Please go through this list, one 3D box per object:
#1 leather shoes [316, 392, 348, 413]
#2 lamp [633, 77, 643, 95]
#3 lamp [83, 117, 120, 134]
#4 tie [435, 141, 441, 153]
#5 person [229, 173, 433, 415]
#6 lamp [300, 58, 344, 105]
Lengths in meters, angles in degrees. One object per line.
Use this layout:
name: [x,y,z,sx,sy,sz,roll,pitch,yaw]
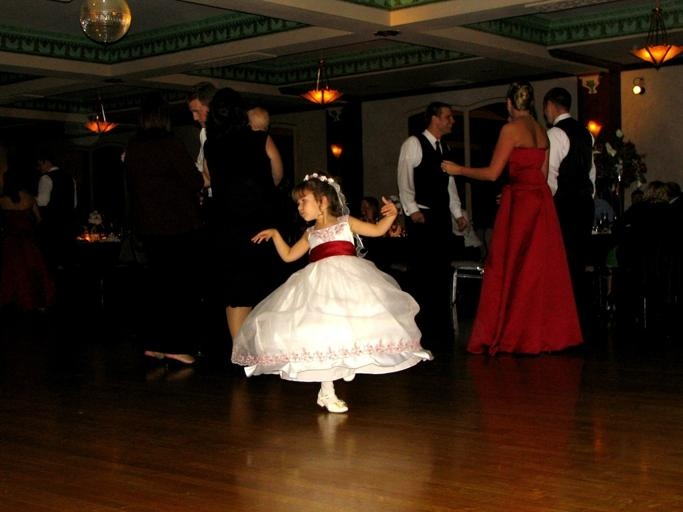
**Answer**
leather shoes: [-0.059,0.863,3.911,0.199,0.097,0.193,-1,5,6]
lamp: [4.902,-2.828,10.844,0.170,0.279,0.252,3,7,40]
lamp: [-5.334,-2.913,14.448,0.499,0.206,0.510,-1,18,0]
tie: [0.915,-1.028,6.163,0.068,0.095,0.025,-10,1,-36]
person: [-0.071,0.183,4.104,1.222,1.427,0.661,-1,5,7]
lamp: [-0.325,-2.839,11.025,0.808,0.843,0.830,0,-8,-2]
